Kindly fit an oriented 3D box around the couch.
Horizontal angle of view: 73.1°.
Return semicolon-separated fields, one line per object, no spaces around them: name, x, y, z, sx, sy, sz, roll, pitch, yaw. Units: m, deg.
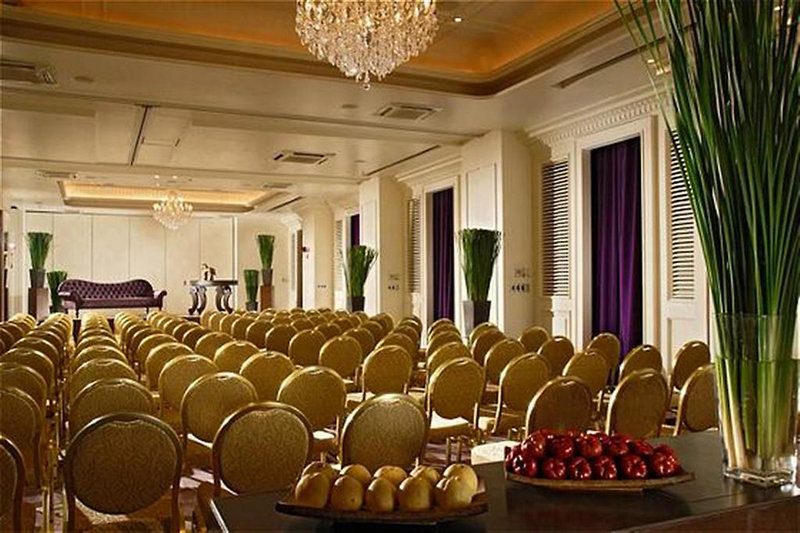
couch;-8.136;0.933;15.204;2.828;0.979;1.549;2;0;-15

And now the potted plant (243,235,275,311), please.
potted plant;-4.125;0.139;16.048;0.795;2.325;2.125;2;-6;-15

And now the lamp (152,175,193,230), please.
lamp;-5.397;-1.361;12.979;1.177;1.775;1.178;-3;5;-18

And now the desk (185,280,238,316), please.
desk;-5.525;0.876;15.982;1.301;0.878;1.284;0;7;-36

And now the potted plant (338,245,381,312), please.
potted plant;-0.746;0.233;11.397;0.998;2.332;1.266;0;-1;-10

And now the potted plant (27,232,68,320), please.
potted plant;-8.824;0.171;13.433;0.790;3.122;1.019;-1;2;-33
